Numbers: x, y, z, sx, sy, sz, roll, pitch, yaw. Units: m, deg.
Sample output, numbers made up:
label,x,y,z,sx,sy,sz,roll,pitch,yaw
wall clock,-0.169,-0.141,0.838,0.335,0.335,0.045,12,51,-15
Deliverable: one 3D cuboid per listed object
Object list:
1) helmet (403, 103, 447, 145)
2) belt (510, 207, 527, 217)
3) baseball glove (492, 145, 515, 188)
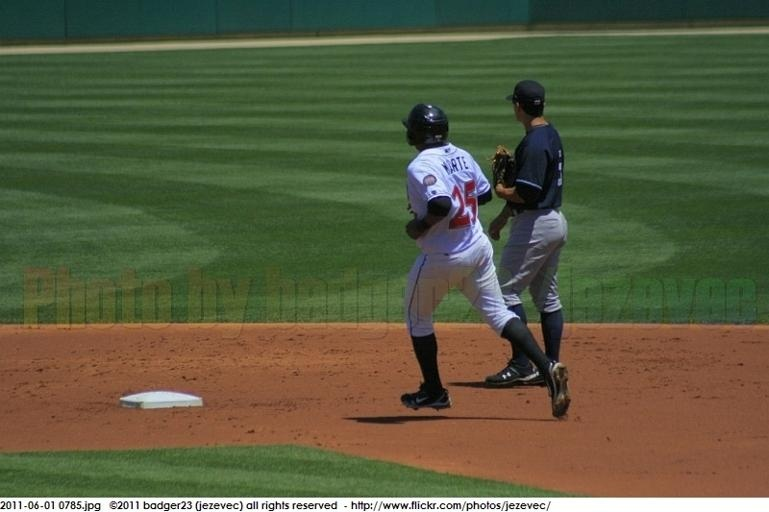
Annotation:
label,x,y,z,sx,sy,sz,roll,pitch,yaw
helmet,0.541,-1.667,19.159,0.504,0.461,0.621,-16,19,-41
belt,1.727,-0.577,19.455,0.131,0.105,0.106,-20,11,40
baseball glove,1.628,-1.152,19.612,0.377,0.445,0.274,-10,-10,44
